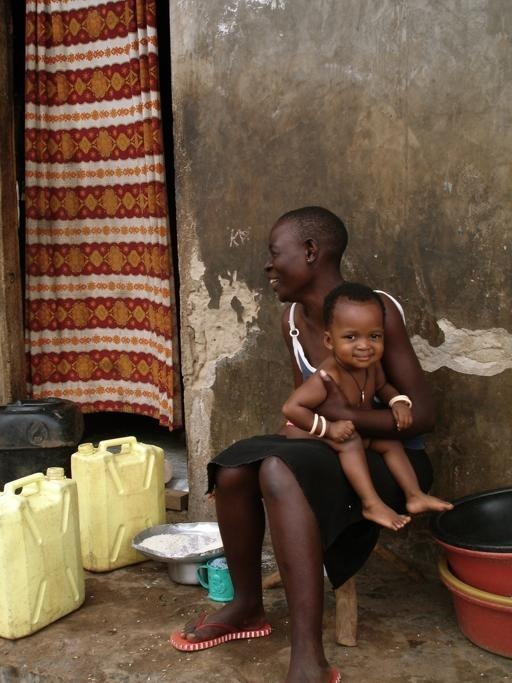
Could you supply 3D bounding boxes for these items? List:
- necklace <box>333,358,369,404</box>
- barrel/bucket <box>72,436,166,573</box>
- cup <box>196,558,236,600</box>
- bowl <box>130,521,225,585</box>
[{"bbox_3d":[0.311,0.124,2.426,0.102,0.127,0.047,-19,9,-22],"label":"necklace"},{"bbox_3d":[-0.578,0.671,3.178,0.415,0.545,0.382,3,11,0],"label":"barrel/bucket"},{"bbox_3d":[-0.152,0.919,2.915,0.157,0.132,0.096,-3,9,14],"label":"cup"},{"bbox_3d":[-0.308,0.841,3.126,0.323,0.116,0.307,1,7,0],"label":"bowl"}]
